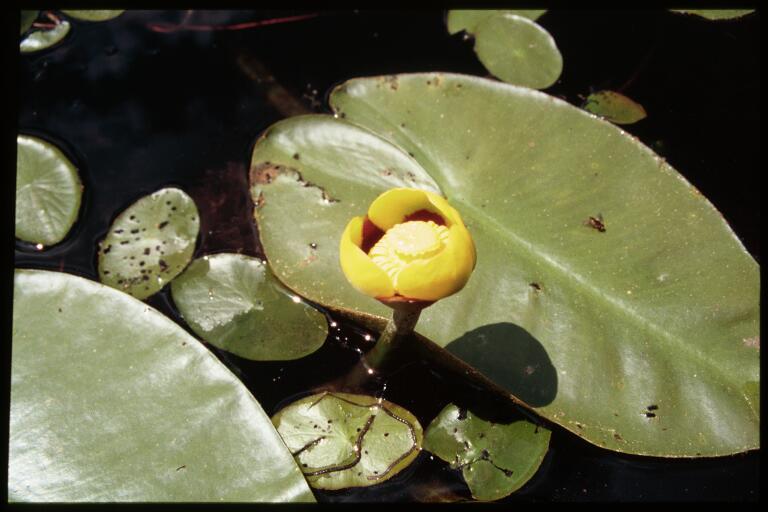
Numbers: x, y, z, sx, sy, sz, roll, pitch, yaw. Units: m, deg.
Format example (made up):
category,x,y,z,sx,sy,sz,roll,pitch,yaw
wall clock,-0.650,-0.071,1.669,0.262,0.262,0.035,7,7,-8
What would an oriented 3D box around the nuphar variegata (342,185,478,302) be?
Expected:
category,x,y,z,sx,sy,sz,roll,pitch,yaw
nuphar variegata,0.090,-0.022,2.740,0.435,0.180,0.408,26,70,8
